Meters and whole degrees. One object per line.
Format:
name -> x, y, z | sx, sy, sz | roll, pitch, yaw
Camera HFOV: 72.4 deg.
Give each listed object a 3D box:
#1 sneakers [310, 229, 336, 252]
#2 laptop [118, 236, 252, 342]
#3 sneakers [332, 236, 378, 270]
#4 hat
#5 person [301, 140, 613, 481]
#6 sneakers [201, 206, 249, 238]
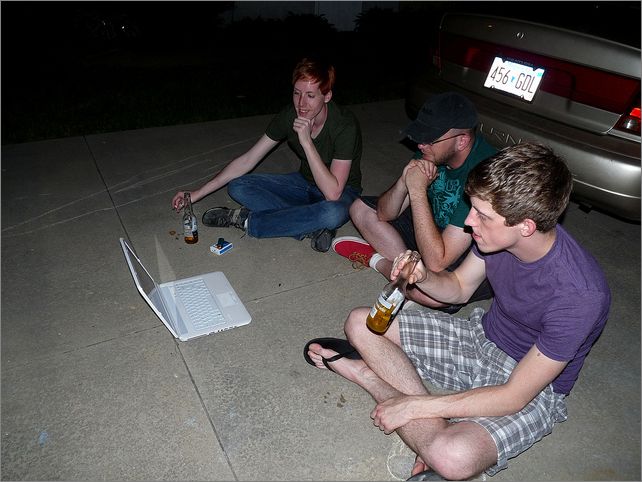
sneakers -> 0.022, -0.009, 3.523 | 0.143, 0.202, 0.072 | 45, 8, -8
laptop -> -0.843, 0.274, 2.810 | 0.585, 0.503, 0.586 | -19, 45, -21
sneakers -> 0.285, 0.085, 3.441 | 0.471, 0.147, 0.173 | 14, 25, -10
hat -> 0.739, -0.772, 2.765 | 0.463, 0.221, 0.279 | -12, 39, -8
person -> 0.755, 0.389, 2.097 | 1.081, 1.411, 0.987 | -13, 44, -15
sneakers -> -0.781, -0.153, 3.661 | 0.515, 0.156, 0.202 | -2, 18, -11
